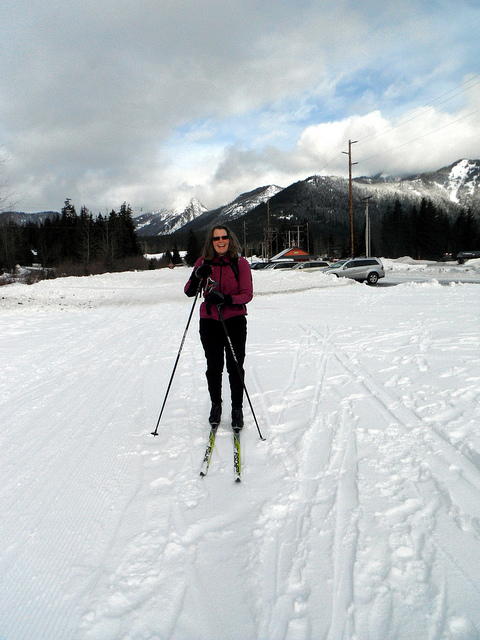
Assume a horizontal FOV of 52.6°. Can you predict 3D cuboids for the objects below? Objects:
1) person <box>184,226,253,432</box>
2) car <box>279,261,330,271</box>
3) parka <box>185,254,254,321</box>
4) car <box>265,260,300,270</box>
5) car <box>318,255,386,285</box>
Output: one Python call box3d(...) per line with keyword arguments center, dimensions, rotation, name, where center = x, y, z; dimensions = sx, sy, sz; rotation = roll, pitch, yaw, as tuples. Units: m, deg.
box3d(center=(-0.140, 0.039, 4.317), dimensions=(0.531, 1.726, 0.592), rotation=(-11, 12, -44), name="person")
box3d(center=(4.003, -3.076, 27.419), dimensions=(1.853, 0.754, 0.911), rotation=(1, 9, 3), name="car")
box3d(center=(-0.169, -0.272, 4.358), dimensions=(0.549, 0.707, 0.445), rotation=(-1, -18, 7), name="parka")
box3d(center=(2.714, -3.453, 30.609), dimensions=(1.478, 0.784, 0.946), rotation=(-1, 14, -4), name="car")
box3d(center=(5.310, -2.260, 22.270), dimensions=(2.032, 1.118, 2.455), rotation=(-3, 10, 0), name="car")
